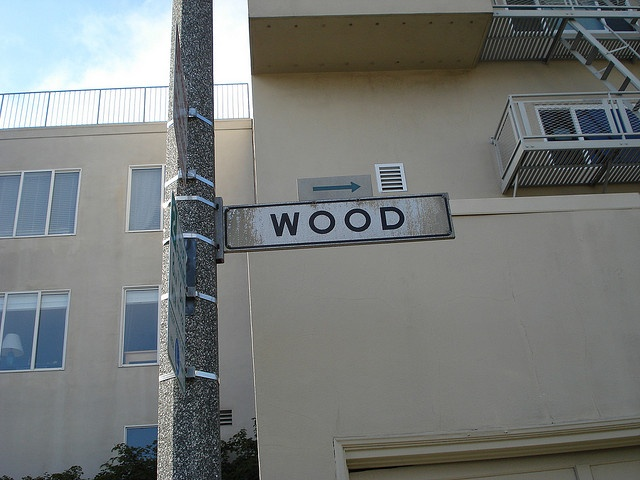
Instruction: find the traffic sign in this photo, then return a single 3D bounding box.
[{"bbox_3d":[0.194,-0.195,7.619,2.614,0.612,0.164,-2,-17,-8],"label":"traffic sign"}]
